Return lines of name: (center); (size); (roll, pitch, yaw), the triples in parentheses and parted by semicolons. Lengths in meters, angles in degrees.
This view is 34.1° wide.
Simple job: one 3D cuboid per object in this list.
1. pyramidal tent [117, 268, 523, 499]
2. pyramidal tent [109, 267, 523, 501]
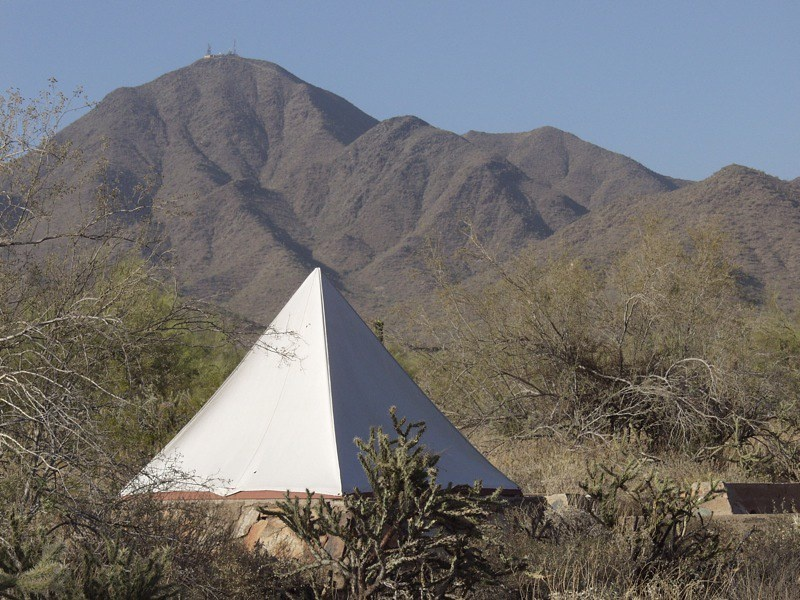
pyramidal tent: (-1.332, 1.474, 22.676); (3.806, 3.044, 4.399); (-3, -14, 5)
pyramidal tent: (-1.517, 1.437, 20.618); (3.339, 2.634, 3.800); (3, -17, -12)
